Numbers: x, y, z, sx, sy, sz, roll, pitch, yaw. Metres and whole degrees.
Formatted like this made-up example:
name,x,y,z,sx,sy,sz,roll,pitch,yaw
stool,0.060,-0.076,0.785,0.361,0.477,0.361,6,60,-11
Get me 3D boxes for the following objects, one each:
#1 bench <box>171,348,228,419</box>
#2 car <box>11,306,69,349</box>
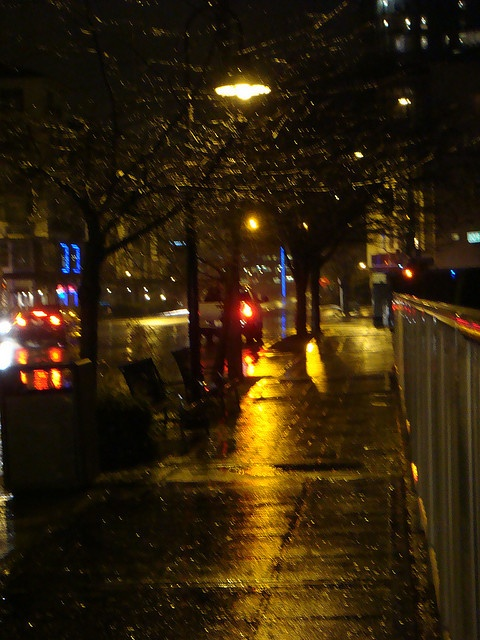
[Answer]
name,x,y,z,sx,sy,sz,roll,pitch,yaw
bench,-0.582,0.859,12.158,0.793,1.657,0.806,-2,7,2
car,-7.000,0.220,28.792,1.920,1.358,1.476,0,7,3
